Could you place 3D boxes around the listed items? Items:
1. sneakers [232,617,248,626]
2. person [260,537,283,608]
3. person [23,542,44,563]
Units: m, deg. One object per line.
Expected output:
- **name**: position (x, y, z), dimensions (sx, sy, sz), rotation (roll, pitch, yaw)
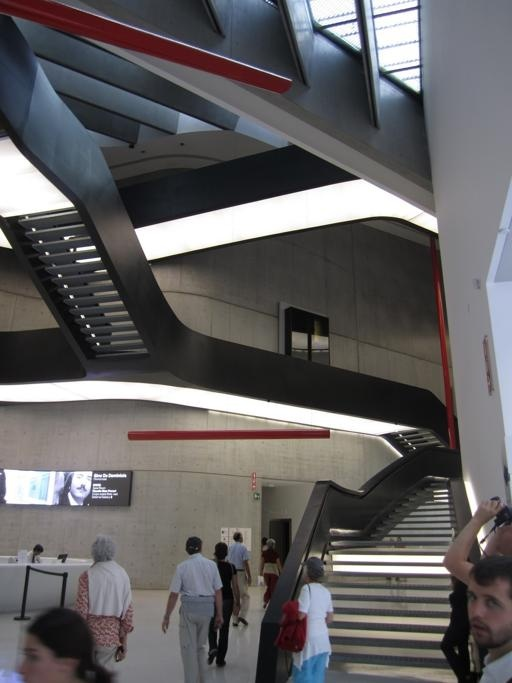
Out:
- **sneakers**: position (-0.202, 4.144, 7.511), dimensions (0.292, 0.148, 0.107), rotation (-6, -19, 4)
- **person**: position (0.238, 3.964, 8.701), dimensions (0.283, 1.090, 0.266), rotation (2, 4, 2)
- **person**: position (-4.111, 3.947, 9.441), dimensions (0.219, 0.305, 0.814), rotation (12, -20, -23)
